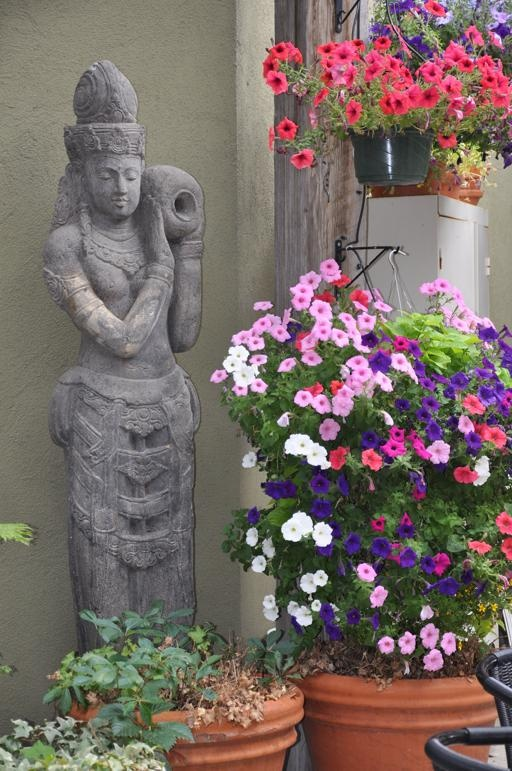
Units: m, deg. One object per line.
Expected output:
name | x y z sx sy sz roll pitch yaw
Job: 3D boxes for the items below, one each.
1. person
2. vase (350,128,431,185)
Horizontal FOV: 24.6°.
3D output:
person | -0.338 -0.078 3.110 0.422 1.506 0.263 -2 7 -5
vase | 0.357 -0.605 3.078 0.242 0.135 0.230 1 3 -11
